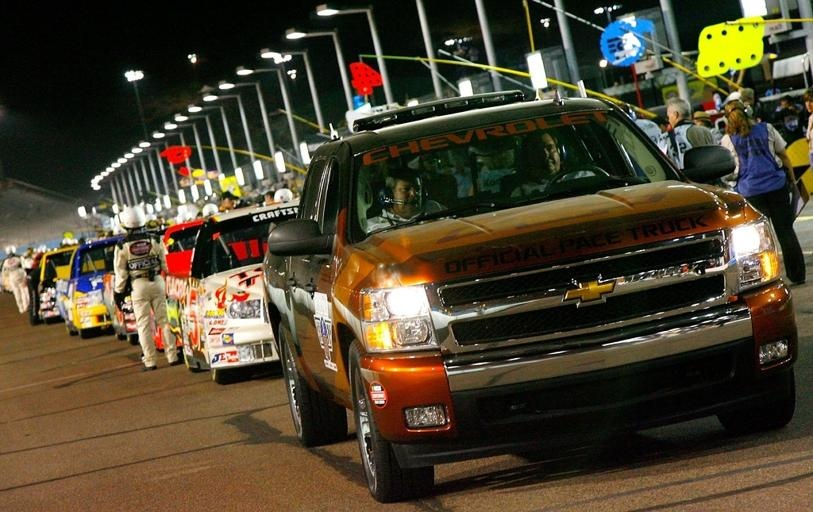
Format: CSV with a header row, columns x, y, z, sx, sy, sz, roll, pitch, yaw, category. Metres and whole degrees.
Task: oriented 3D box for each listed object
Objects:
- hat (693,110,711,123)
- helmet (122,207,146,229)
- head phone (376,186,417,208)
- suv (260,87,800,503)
x,y,z,sx,sy,sz,roll,pitch,yaw,category
5.110,-2.438,11.623,0.246,0.173,0.325,2,1,30,hat
-5.735,-0.803,13.898,0.433,0.432,0.557,-7,18,-19,helmet
-0.080,-0.487,5.503,0.187,0.109,0.225,-4,5,-27,head phone
0.848,-0.287,6.873,3.477,2.523,5.921,-11,11,-4,suv
